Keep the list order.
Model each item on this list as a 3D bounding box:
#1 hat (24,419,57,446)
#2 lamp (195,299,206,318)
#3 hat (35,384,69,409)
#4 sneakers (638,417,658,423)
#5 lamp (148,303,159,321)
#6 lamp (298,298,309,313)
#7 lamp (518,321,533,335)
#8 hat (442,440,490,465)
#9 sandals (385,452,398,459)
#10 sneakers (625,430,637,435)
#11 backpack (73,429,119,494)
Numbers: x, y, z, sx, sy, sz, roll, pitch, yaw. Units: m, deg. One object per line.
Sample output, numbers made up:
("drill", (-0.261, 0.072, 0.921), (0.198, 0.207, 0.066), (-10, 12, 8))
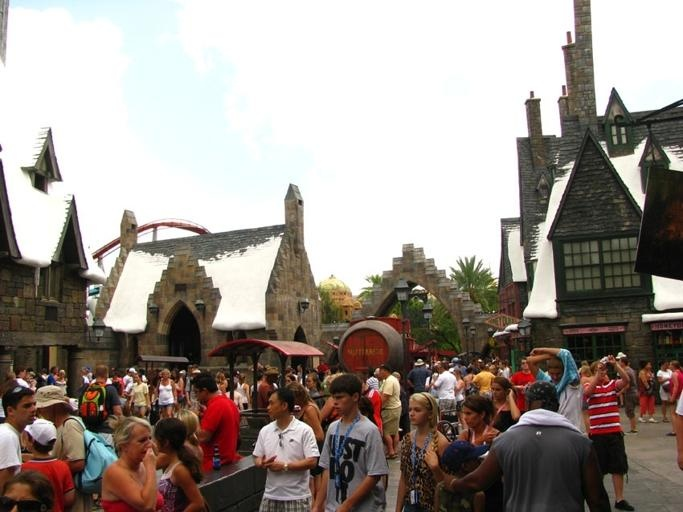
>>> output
("hat", (-3.013, 1.734, 6.747), (0.282, 0.173, 0.194), (29, 18, 12))
("lamp", (-6.813, 2.464, 32.540), (0.473, 0.742, 0.545), (-2, -12, 3))
("hat", (-3.278, 1.575, 7.651), (0.285, 0.159, 0.287), (-2, -5, -12))
("sneakers", (8.400, 4.505, 18.758), (0.431, 0.200, 0.152), (-11, -8, 20))
("lamp", (-9.319, 2.715, 33.774), (0.613, 0.860, 0.599), (-2, -16, 3))
("lamp", (-1.826, 2.459, 34.165), (0.557, 0.896, 0.651), (-4, -5, 32))
("lamp", (6.603, 2.560, 24.585), (0.483, 0.722, 0.532), (-3, 3, 5))
("hat", (1.161, 1.848, 6.379), (0.476, 0.237, 0.175), (7, -14, -34))
("sandals", (1.024, 4.073, 13.884), (0.129, 0.103, 0.248), (2, -4, -9))
("sneakers", (6.893, 4.195, 16.218), (0.292, 0.129, 0.113), (-2, -7, 6))
("backpack", (-2.686, 2.246, 7.461), (0.388, 0.708, 0.390), (1, -12, -8))
